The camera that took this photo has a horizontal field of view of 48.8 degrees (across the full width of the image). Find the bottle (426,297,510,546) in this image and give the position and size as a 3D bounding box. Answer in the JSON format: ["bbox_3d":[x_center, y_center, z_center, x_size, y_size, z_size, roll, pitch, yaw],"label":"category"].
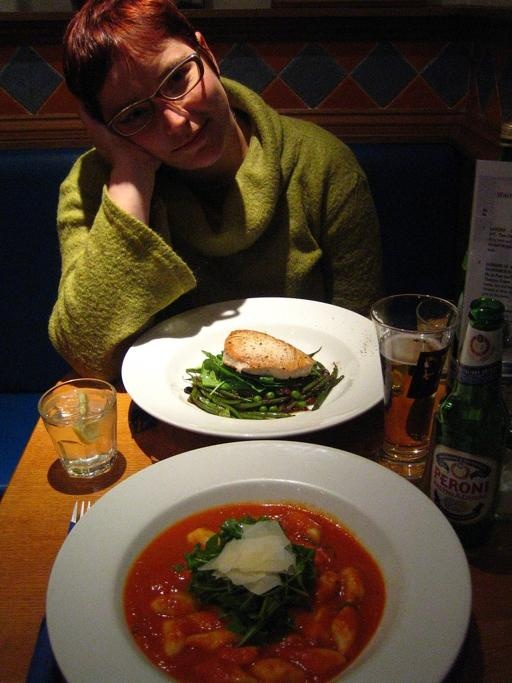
[{"bbox_3d":[0.271,0.109,0.696,0.097,0.342,0.074,11,35,17],"label":"bottle"}]

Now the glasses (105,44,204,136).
[{"bbox_3d":[-0.270,-0.639,1.482,0.265,0.211,0.131,-3,33,-5],"label":"glasses"}]

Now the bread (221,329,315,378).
[{"bbox_3d":[0.018,0.028,1.260,0.148,0.036,0.109,21,29,23],"label":"bread"}]
